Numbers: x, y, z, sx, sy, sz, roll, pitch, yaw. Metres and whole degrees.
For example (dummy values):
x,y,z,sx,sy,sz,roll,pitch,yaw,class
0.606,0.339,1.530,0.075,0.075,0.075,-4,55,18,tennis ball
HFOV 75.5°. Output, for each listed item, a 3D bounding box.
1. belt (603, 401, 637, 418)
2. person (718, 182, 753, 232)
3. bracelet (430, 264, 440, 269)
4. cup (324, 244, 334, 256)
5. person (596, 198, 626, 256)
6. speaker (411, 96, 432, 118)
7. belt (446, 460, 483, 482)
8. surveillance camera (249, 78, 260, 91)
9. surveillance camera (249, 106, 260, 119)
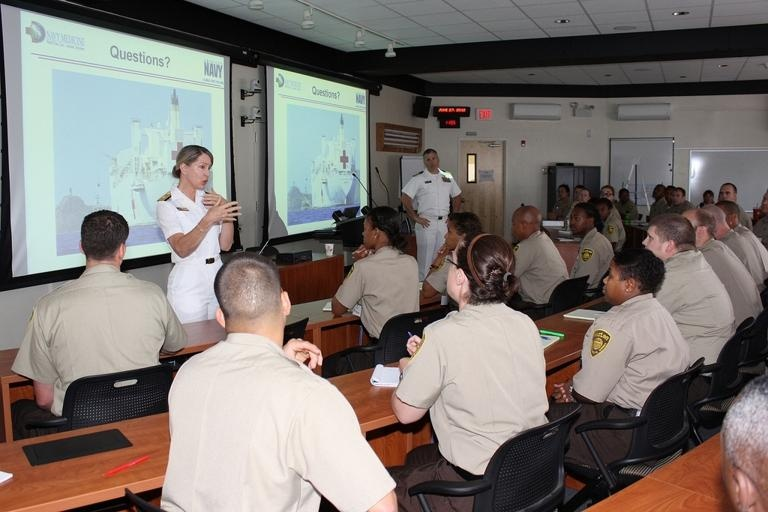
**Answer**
x,y,z,sx,sy,sz,roll,pitch,yaw,class
1.232,0.788,2.575,0.075,0.036,0.097,-1,3,-19,belt
5.385,-0.667,7.452,0.367,0.948,0.464,-8,11,25,person
0.465,0.093,4.466,0.059,0.044,0.107,-2,0,9,bracelet
-0.687,-0.079,6.133,0.153,0.158,0.154,-1,3,0,cup
3.640,-0.450,7.935,0.537,0.957,0.585,-4,28,16,person
0.796,-3.159,10.516,0.491,0.433,0.115,-7,11,-42,speaker
0.335,0.864,2.016,0.076,0.028,0.059,37,7,35,belt
-1.745,-2.317,6.724,0.103,0.165,0.237,1,13,13,surveillance camera
-1.726,-1.928,6.676,0.136,0.161,0.167,-1,0,28,surveillance camera
